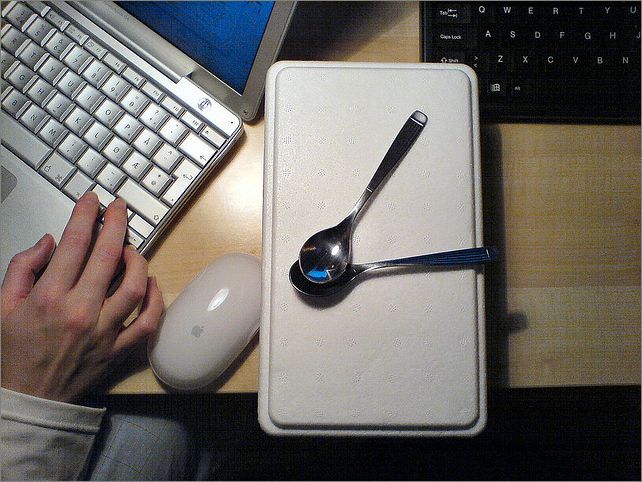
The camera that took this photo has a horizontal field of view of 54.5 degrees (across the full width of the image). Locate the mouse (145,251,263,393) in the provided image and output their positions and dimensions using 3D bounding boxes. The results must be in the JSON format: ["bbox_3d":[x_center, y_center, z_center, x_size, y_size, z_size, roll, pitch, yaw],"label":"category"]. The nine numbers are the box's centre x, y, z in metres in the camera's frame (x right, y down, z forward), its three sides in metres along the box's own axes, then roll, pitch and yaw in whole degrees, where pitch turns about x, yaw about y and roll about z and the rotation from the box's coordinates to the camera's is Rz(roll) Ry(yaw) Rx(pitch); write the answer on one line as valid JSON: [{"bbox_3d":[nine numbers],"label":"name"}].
[{"bbox_3d":[-0.121,0.091,0.715,0.091,0.047,0.158,41,93,5],"label":"mouse"}]
